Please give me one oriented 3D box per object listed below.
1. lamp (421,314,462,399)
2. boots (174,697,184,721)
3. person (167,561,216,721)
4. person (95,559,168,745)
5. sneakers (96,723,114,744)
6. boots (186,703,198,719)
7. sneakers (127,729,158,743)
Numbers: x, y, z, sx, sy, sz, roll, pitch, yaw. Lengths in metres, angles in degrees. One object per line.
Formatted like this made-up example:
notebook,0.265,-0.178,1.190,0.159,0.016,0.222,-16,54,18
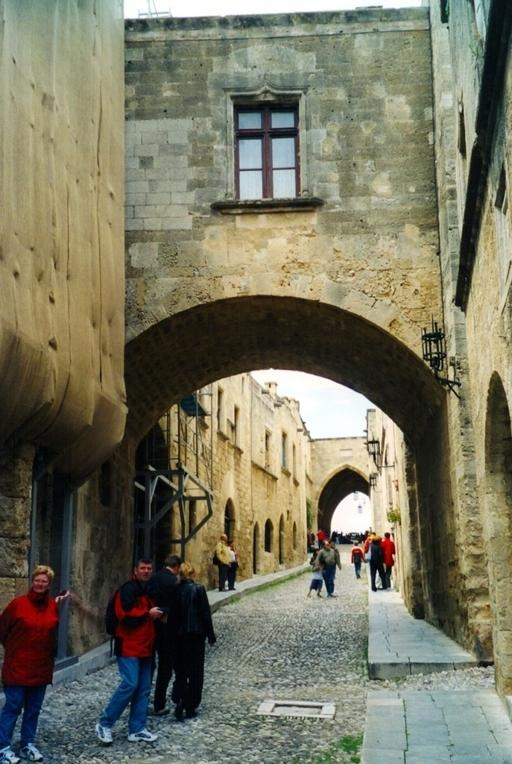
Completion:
lamp,1.970,-0.262,7.583,0.274,0.895,0.193,-5,-21,17
boots,-0.563,2.410,5.133,0.066,0.120,0.147,0,-15,-8
person,-0.484,1.970,5.372,0.310,1.092,0.338,0,-14,-9
person,-0.837,1.774,4.677,0.400,1.107,0.419,1,-14,-13
sneakers,-0.956,2.220,4.433,0.083,0.112,0.217,3,-17,-19
boots,-0.478,2.451,5.235,0.082,0.089,0.173,-1,-16,-5
sneakers,-0.718,2.236,4.446,0.160,0.083,0.077,0,-18,4
